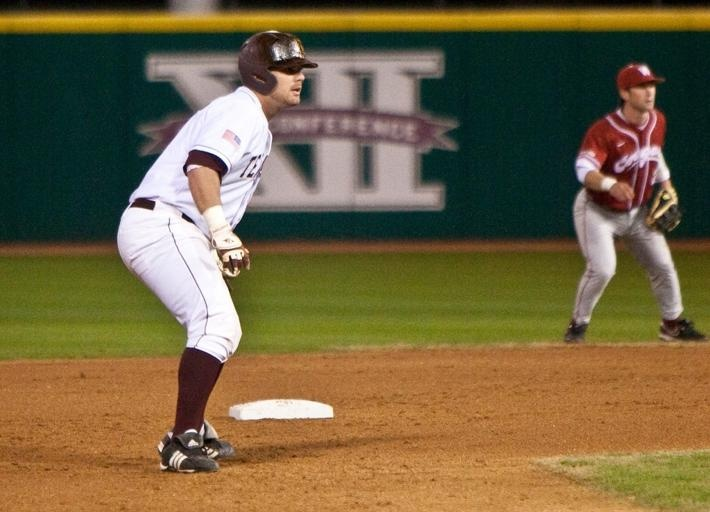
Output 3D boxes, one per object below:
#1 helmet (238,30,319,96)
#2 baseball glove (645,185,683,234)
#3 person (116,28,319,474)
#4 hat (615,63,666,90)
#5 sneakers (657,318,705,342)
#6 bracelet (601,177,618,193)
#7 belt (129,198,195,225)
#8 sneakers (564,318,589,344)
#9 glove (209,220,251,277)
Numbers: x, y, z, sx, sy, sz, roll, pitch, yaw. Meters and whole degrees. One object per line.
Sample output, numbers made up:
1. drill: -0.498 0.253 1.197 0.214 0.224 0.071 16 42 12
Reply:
1. helmet: -0.686 -1.544 12.313 0.664 0.469 0.470 2 2 7
2. baseball glove: 3.056 -0.528 14.962 0.364 0.456 0.234 -12 -34 17
3. person: -1.076 -0.030 12.085 1.293 3.405 0.867 -9 16 -33
4. hat: 2.722 -1.717 14.714 0.353 0.247 0.329 3 13 13
5. sneakers: 3.192 0.753 15.072 0.513 0.210 0.182 0 3 11
6. bracelet: 2.422 -0.666 14.475 0.148 0.137 0.242 6 13 24
7. belt: -1.531 -0.370 12.044 0.313 0.098 0.274 12 -6 20
8. sneakers: 2.163 0.776 15.100 0.242 0.302 0.253 7 8 13
9. glove: -0.989 -0.027 11.928 0.359 0.383 0.124 -21 13 -17
